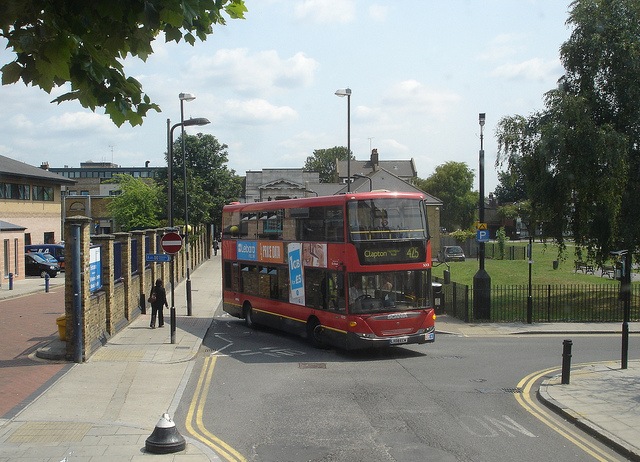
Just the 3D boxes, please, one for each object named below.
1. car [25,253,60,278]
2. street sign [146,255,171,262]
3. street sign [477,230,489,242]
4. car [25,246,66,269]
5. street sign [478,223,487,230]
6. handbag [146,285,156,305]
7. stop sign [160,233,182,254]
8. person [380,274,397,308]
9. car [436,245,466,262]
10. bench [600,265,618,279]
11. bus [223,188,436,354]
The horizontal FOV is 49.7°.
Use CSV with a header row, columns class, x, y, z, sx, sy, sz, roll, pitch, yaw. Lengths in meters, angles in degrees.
class,x,y,z,sx,sy,sz,roll,pitch,yaw
car,-19.267,2.359,48.018,1.867,1.457,2.694,-3,5,-42
street sign,-6.080,0.970,25.831,1.070,0.246,0.554,2,4,27
street sign,6.921,0.185,29.271,0.077,0.391,0.563,9,3,40
car,-19.448,1.832,48.554,2.595,1.324,1.687,-1,-1,15
street sign,6.932,-0.218,29.432,0.327,0.203,0.326,0,0,-3
handbag,-6.445,2.433,26.439,0.277,0.700,0.339,-1,5,-19
stop sign,-5.406,0.426,25.049,0.967,0.956,0.164,-7,8,-2
person,2.214,1.890,22.131,0.618,1.065,0.145,-2,5,-29
car,11.124,1.872,58.165,1.478,1.084,2.300,-1,-6,-9
bench,16.757,2.348,39.981,0.564,1.009,1.379,-2,2,-15
bus,0.563,1.406,27.214,3.704,5.269,11.123,-1,-1,-32
